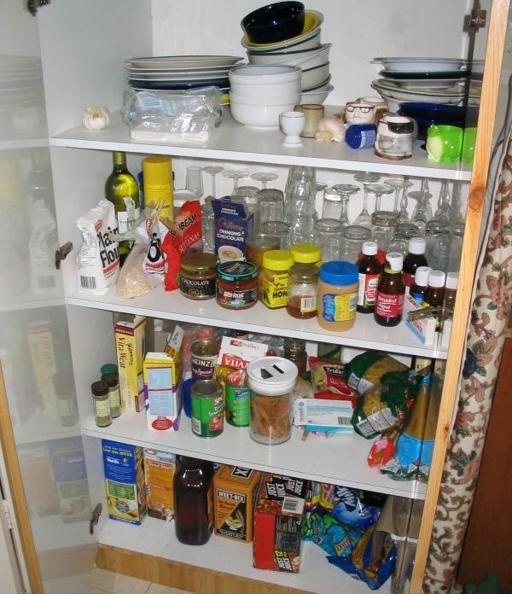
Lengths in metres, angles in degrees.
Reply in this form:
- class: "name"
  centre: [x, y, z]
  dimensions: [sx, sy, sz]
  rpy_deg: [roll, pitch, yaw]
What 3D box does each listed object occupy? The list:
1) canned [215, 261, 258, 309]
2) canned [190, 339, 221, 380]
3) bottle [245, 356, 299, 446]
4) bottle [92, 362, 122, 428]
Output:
- class: "canned"
  centre: [-0.043, -0.022, 1.182]
  dimensions: [0.099, 0.083, 0.101]
  rpy_deg: [5, 31, 9]
- class: "canned"
  centre: [-0.127, 0.177, 1.289]
  dimensions: [0.097, 0.069, 0.093]
  rpy_deg: [3, 5, -10]
- class: "bottle"
  centre: [0.026, 0.282, 1.295]
  dimensions: [0.136, 0.181, 0.128]
  rpy_deg: [6, -2, 0]
- class: "bottle"
  centre: [-0.394, 0.261, 1.341]
  dimensions: [0.060, 0.123, 0.144]
  rpy_deg: [0, 24, -4]
